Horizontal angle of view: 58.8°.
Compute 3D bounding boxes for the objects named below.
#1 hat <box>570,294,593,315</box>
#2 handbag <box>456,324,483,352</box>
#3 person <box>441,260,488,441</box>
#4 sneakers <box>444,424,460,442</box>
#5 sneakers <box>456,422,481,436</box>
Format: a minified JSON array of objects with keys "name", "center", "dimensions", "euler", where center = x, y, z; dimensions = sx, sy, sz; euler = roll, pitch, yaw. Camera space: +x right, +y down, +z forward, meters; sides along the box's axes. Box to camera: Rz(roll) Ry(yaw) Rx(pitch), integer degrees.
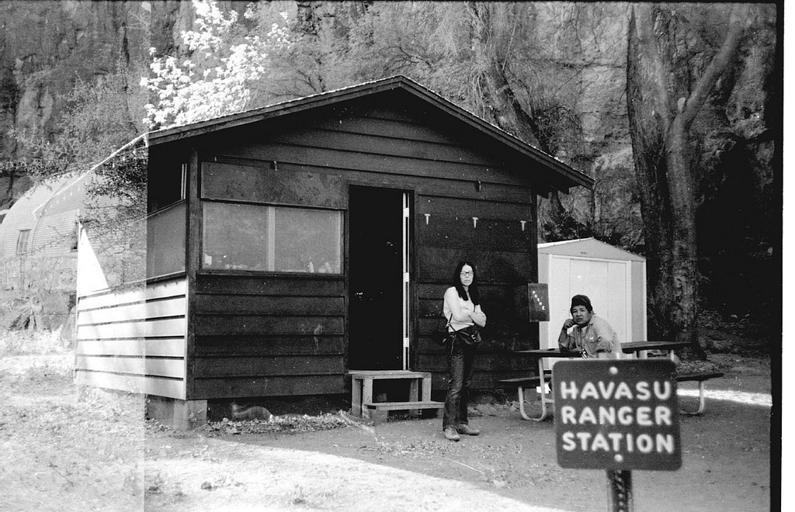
[{"name":"hat","center":[2.761,0.691,10.391],"dimensions":[0.285,0.259,0.456],"euler":[3,5,17]},{"name":"handbag","center":[1.015,1.172,10.117],"dimensions":[0.337,0.246,0.335],"euler":[0,-8,-13]},{"name":"person","center":[0.969,1.359,10.100],"dimensions":[0.589,2.488,0.781],"euler":[2,6,5]},{"name":"sneakers","center":[0.798,2.501,9.922],"dimensions":[0.232,0.182,0.187],"euler":[0,6,-13]},{"name":"sneakers","center":[1.039,2.528,10.290],"dimensions":[0.397,0.166,0.146],"euler":[0,-2,8]}]
